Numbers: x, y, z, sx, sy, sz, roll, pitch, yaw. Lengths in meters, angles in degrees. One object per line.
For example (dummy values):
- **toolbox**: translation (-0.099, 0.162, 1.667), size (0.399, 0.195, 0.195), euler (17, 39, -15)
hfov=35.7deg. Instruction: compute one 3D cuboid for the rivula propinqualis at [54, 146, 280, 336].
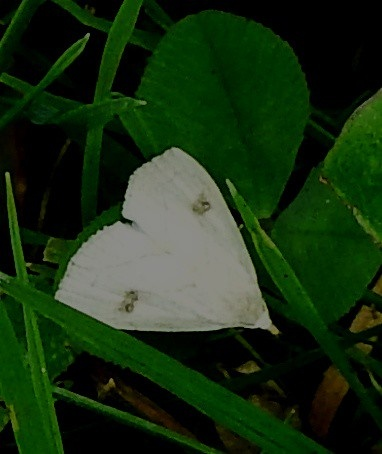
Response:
- **rivula propinqualis**: translation (0.002, 0.028, 0.536), size (0.190, 0.111, 0.148), euler (23, 47, 12)
